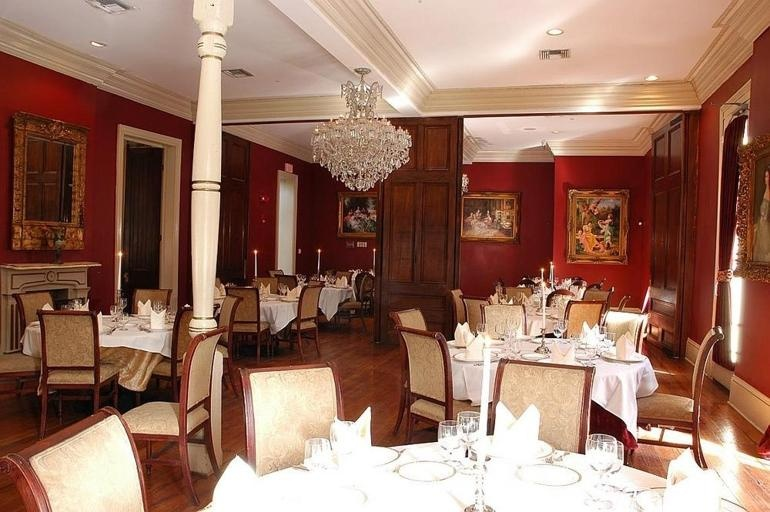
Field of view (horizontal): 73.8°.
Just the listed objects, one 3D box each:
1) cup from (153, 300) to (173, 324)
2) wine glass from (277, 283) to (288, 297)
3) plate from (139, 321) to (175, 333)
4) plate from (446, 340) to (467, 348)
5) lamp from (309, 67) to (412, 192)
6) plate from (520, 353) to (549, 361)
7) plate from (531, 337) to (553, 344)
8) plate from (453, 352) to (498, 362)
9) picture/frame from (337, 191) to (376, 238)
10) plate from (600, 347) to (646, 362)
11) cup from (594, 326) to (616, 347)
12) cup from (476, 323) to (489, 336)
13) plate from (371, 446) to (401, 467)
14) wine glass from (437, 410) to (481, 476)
[{"bbox_3d":[-2.793,0.704,6.437,0.204,0.225,0.198,1,5,0],"label":"cup"},{"bbox_3d":[-1.908,0.618,9.588,0.191,0.336,0.193,-1,-8,2],"label":"wine glass"},{"bbox_3d":[-2.702,0.824,5.966,0.215,0.056,0.220,1,1,1],"label":"plate"},{"bbox_3d":[0.718,0.898,5.302,0.146,0.077,0.250,-1,0,-13],"label":"plate"},{"bbox_3d":[-0.150,-1.757,7.904,1.634,2.097,1.678,4,7,32],"label":"lamp"},{"bbox_3d":[1.443,0.959,4.924,0.265,0.069,0.287,-1,0,20],"label":"plate"},{"bbox_3d":[1.735,0.937,5.698,0.169,0.029,0.175,-1,1,11],"label":"plate"},{"bbox_3d":[0.861,0.926,4.844,0.431,0.110,0.296,-1,0,10],"label":"plate"},{"bbox_3d":[-0.748,-1.205,14.440,1.378,1.383,0.102,1,6,9],"label":"picture/frame"},{"bbox_3d":[2.279,0.949,4.910,0.386,0.112,0.390,-1,0,28],"label":"plate"},{"bbox_3d":[2.241,0.819,5.246,0.176,0.169,0.208,0,-4,-3],"label":"cup"},{"bbox_3d":[0.974,0.727,5.097,0.095,0.109,0.098,0,-5,0],"label":"cup"},{"bbox_3d":[0.005,1.173,3.079,0.165,0.104,0.191,-1,0,0],"label":"plate"},{"bbox_3d":[0.427,1.059,2.942,0.227,0.347,0.253,-1,0,8],"label":"wine glass"}]
